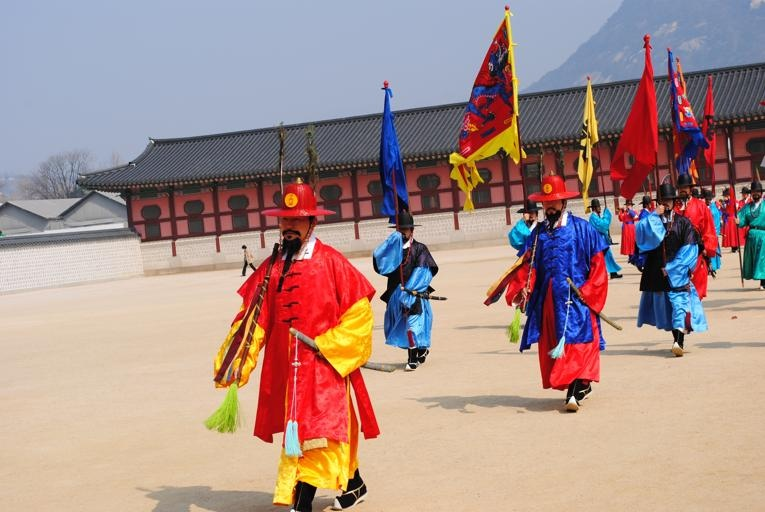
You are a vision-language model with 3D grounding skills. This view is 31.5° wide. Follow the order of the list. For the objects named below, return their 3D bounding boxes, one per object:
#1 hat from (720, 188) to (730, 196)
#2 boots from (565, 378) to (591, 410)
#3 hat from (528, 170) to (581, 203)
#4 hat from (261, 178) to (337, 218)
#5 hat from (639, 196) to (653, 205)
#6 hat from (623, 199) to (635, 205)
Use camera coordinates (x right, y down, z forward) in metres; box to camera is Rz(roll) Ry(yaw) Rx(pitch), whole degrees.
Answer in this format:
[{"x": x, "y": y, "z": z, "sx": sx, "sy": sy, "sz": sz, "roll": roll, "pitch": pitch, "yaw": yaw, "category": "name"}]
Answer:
[{"x": 9.936, "y": -1.925, "z": 39.453, "sx": 0.387, "sy": 0.211, "sz": 0.563, "roll": 0, "pitch": 2, "yaw": 13, "category": "hat"}, {"x": 3.385, "y": 2.408, "z": 23.702, "sx": 0.254, "sy": 0.764, "sz": 0.327, "roll": 8, "pitch": 28, "yaw": 3, "category": "boots"}, {"x": 3.094, "y": -1.176, "z": 24.129, "sx": 0.665, "sy": 0.305, "sz": 0.684, "roll": 5, "pitch": 17, "yaw": 35, "category": "hat"}, {"x": -1.526, "y": -0.930, "z": 22.410, "sx": 0.805, "sy": 0.365, "sz": 0.840, "roll": 10, "pitch": 12, "yaw": 41, "category": "hat"}, {"x": 5.982, "y": -1.305, "z": 30.995, "sx": 0.295, "sy": 0.127, "sz": 0.321, "roll": -4, "pitch": 0, "yaw": -20, "category": "hat"}, {"x": 5.224, "y": -1.190, "z": 29.027, "sx": 0.221, "sy": 0.123, "sz": 0.252, "roll": 0, "pitch": 1, "yaw": -4, "category": "hat"}]
